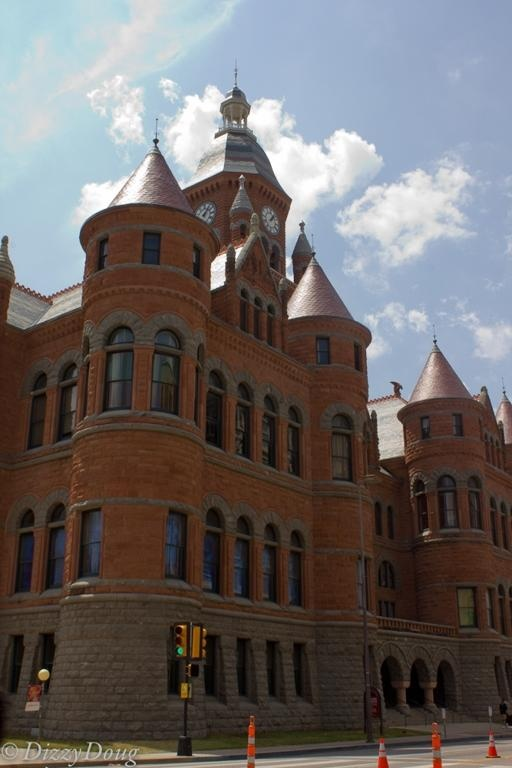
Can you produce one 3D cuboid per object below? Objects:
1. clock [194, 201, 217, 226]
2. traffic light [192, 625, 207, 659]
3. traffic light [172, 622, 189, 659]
[{"bbox_3d":[-3.246,-11.354,49.789,1.432,2.036,0.446,-15,-28,27],"label":"clock"},{"bbox_3d":[-1.259,5.620,16.095,0.283,0.685,0.678,-1,-24,-1],"label":"traffic light"},{"bbox_3d":[-1.587,5.510,15.861,0.266,0.664,0.396,-1,-24,-2],"label":"traffic light"}]
